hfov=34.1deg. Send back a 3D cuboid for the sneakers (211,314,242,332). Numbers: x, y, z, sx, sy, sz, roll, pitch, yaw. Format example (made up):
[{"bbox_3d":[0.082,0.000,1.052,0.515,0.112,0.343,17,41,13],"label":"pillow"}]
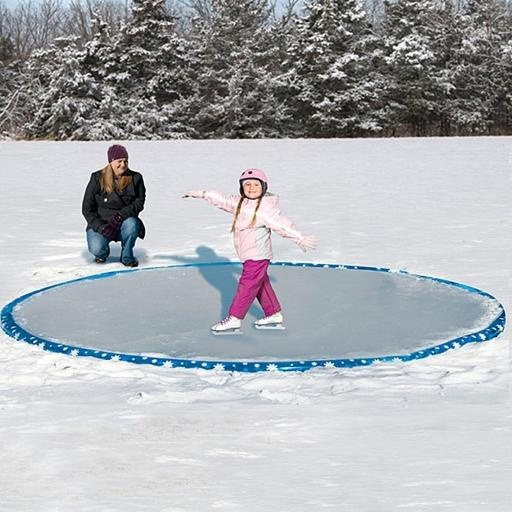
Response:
[{"bbox_3d":[-0.204,0.486,5.905,0.274,0.101,0.081,1,18,-10],"label":"sneakers"}]

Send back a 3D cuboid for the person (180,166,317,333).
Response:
[{"bbox_3d":[-0.005,-0.026,5.805,0.715,1.156,0.720,-2,10,-11],"label":"person"}]

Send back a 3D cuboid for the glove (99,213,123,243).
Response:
[{"bbox_3d":[-1.384,-0.271,8.069,0.195,0.248,0.073,22,10,-12],"label":"glove"}]

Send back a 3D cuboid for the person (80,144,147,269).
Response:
[{"bbox_3d":[-1.367,-0.485,8.176,0.599,1.202,0.541,8,13,40],"label":"person"}]

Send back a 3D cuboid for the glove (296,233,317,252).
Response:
[{"bbox_3d":[0.403,-0.095,6.628,0.206,0.132,0.059,28,-5,-36],"label":"glove"}]

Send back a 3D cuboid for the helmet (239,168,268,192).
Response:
[{"bbox_3d":[-0.018,-0.520,5.703,0.185,0.147,0.220,0,-1,16],"label":"helmet"}]

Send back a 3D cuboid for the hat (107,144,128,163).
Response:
[{"bbox_3d":[-1.303,-0.986,7.947,0.227,0.162,0.170,6,10,28],"label":"hat"}]
